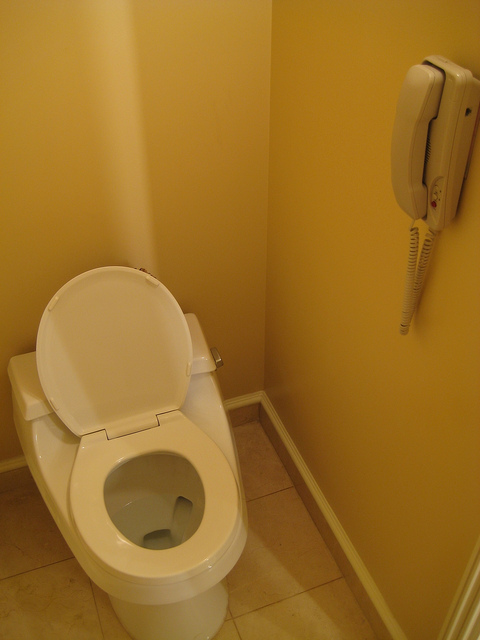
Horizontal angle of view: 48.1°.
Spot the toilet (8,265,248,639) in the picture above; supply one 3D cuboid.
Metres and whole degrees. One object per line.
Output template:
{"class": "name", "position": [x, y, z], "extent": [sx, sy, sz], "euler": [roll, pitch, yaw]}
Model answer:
{"class": "toilet", "position": [-0.271, 0.302, 1.232], "extent": [0.535, 0.638, 0.677], "euler": [-6, 43, -9]}
